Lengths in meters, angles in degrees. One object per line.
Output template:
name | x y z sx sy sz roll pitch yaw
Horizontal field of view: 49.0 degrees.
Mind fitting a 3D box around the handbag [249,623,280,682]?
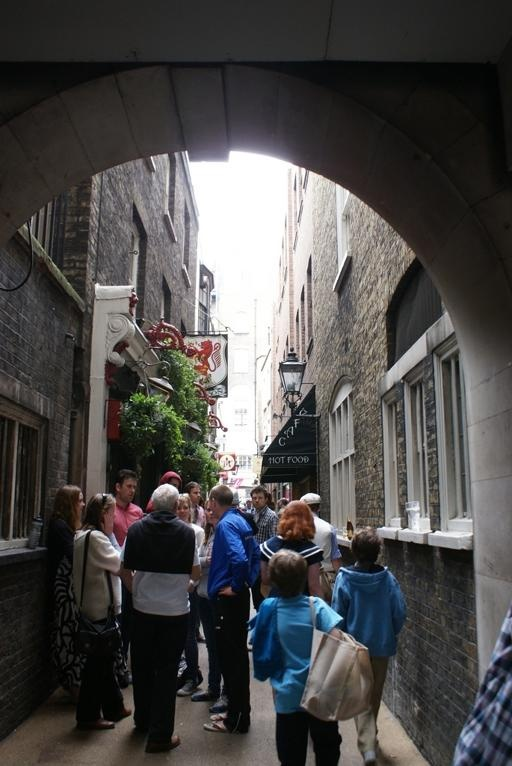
handbag | 0.055 1.339 2.753 0.146 0.259 0.132 2 -11 -3

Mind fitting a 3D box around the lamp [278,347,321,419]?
lamp | 0.746 -0.034 11.273 0.532 1.369 0.536 4 -8 -23
